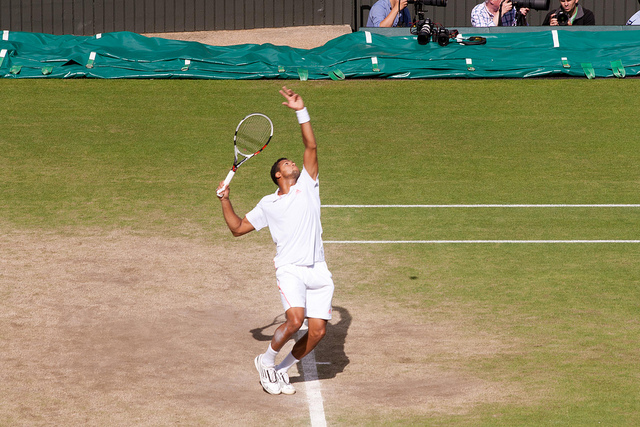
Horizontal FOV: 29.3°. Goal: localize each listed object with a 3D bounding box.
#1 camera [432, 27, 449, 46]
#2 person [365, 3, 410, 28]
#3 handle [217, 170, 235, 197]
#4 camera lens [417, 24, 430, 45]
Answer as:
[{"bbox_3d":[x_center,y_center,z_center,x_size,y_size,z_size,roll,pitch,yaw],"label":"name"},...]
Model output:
[{"bbox_3d":[2.997,-4.413,30.232,0.611,0.299,0.408,0,23,-1],"label":"camera"},{"bbox_3d":[1.820,-5.050,31.409,1.071,0.813,0.962,6,28,1],"label":"person"},{"bbox_3d":[-1.391,-0.509,19.229,0.158,0.081,0.550,1,38,45],"label":"handle"},{"bbox_3d":[2.570,-4.392,30.117,0.279,0.543,0.267,1,31,-9],"label":"camera lens"}]
